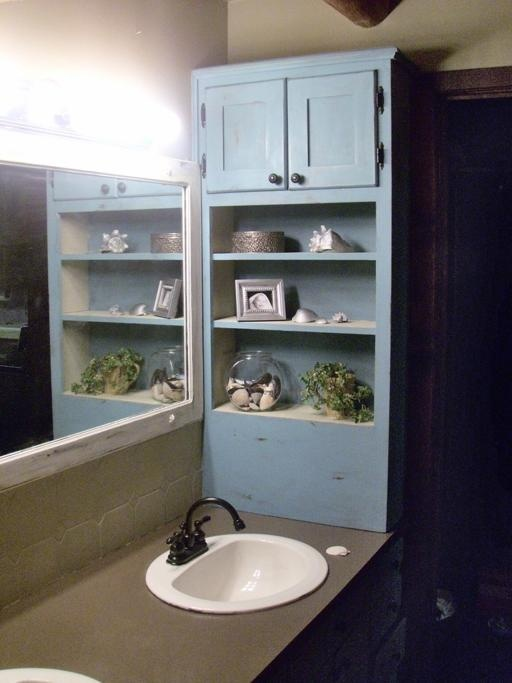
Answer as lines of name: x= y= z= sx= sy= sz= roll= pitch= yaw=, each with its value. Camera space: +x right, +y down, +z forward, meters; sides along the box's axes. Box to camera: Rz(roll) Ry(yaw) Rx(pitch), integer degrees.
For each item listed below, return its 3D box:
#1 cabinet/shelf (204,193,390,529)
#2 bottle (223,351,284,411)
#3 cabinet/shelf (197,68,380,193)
cabinet/shelf: x=0.141 y=0.050 z=1.814 sx=0.620 sy=1.046 sz=0.323 roll=2 pitch=1 yaw=20
bottle: x=-0.010 y=0.115 z=1.839 sx=0.187 sy=0.211 sz=0.191 roll=1 pitch=2 yaw=41
cabinet/shelf: x=0.109 y=-0.631 z=1.693 sx=0.571 sy=0.337 sz=0.167 roll=4 pitch=16 yaw=19
